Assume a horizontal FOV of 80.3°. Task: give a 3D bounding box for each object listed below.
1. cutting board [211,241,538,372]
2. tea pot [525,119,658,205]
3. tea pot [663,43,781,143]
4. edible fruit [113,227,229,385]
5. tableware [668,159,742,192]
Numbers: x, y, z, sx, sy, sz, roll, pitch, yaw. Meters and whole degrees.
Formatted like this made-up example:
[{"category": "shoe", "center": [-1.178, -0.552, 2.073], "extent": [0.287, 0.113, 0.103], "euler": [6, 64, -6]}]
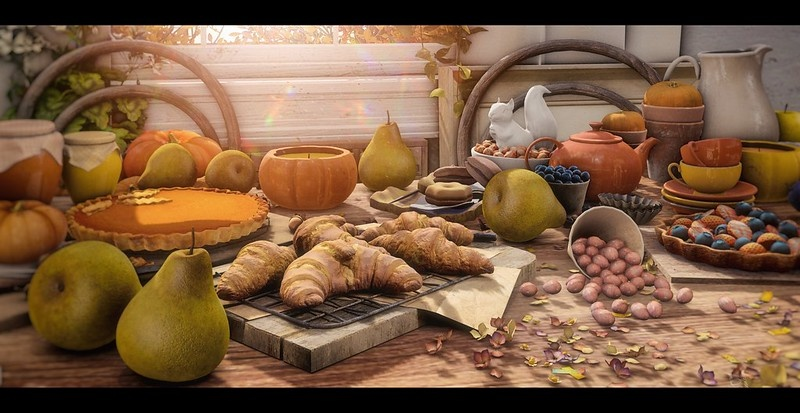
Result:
[{"category": "cutting board", "center": [0.024, 0.264, 1.488], "extent": [0.952, 0.079, 0.796], "euler": [-15, 8, -41]}, {"category": "tea pot", "center": [0.754, -0.195, 1.888], "extent": [0.505, 0.253, 0.331], "euler": [0, 18, 5]}, {"category": "tea pot", "center": [1.311, -0.471, 2.123], "extent": [0.543, 0.436, 0.331], "euler": [-3, 7, 14]}, {"category": "edible fruit", "center": [-0.521, 0.248, 1.067], "extent": [0.237, 0.292, 0.070], "euler": [0, 14, 0]}, {"category": "tableware", "center": [1.156, -0.109, 1.806], "extent": [0.251, 0.095, 0.180], "euler": [3, 16, 27]}]
